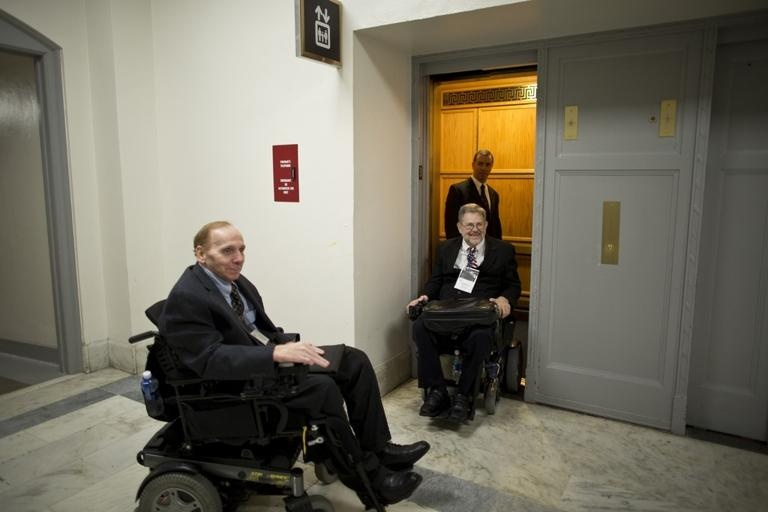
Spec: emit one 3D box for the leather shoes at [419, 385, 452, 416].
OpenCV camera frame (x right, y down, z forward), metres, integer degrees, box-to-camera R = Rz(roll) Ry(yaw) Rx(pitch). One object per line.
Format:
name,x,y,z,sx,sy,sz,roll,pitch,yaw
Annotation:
leather shoes,0.474,1.298,4.529,0.154,0.165,0.386,-2,-9,24

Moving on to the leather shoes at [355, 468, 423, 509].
leather shoes,0.038,1.555,3.523,0.494,0.236,0.215,-16,28,3

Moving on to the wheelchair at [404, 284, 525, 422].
wheelchair,0.850,0.922,4.837,0.886,1.409,1.166,0,-4,26

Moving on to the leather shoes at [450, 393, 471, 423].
leather shoes,0.645,1.282,4.286,0.139,0.175,0.194,3,9,24
